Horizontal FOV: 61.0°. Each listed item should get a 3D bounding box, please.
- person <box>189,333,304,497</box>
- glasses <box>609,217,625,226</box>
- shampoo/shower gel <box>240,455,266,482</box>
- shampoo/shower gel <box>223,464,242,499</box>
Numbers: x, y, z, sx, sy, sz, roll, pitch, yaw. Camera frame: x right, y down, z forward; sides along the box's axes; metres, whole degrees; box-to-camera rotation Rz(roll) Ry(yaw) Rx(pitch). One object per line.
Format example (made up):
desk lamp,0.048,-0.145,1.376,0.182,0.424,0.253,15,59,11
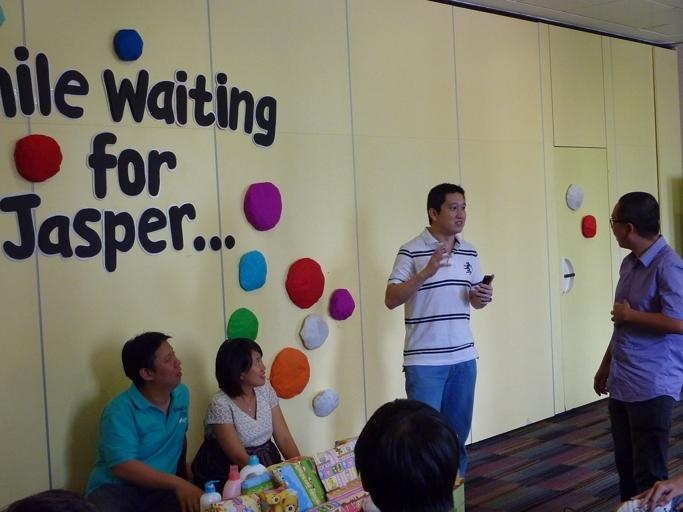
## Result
person,-0.683,0.893,3.556,0.723,1.149,0.575,-4,-4,43
glasses,1.563,-0.189,3.290,0.056,0.024,0.067,3,8,1
shampoo/shower gel,-0.446,1.061,2.946,0.120,0.215,0.098,0,-7,-1
shampoo/shower gel,-0.524,1.079,2.770,0.090,0.141,0.113,-3,3,-20
